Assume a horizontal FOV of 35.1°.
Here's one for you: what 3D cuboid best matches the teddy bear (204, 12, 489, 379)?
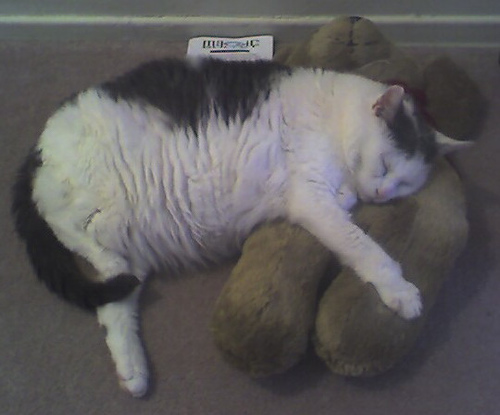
[{"bbox_3d":[0.358,-0.034,2.583,0.693,0.590,1.206,13,46,20],"label":"teddy bear"}]
